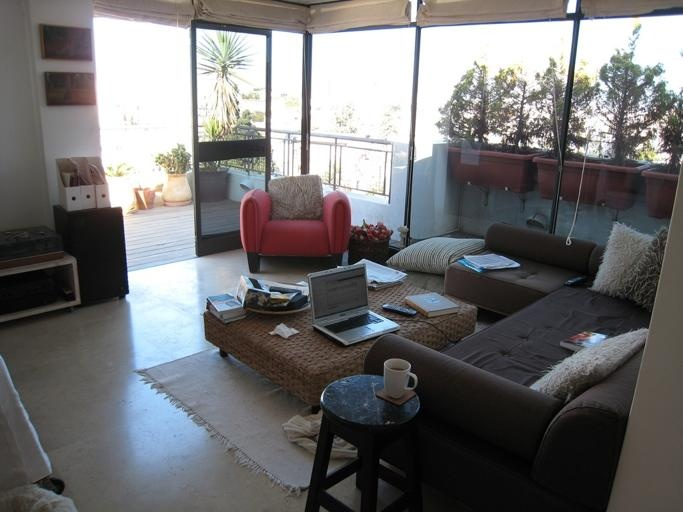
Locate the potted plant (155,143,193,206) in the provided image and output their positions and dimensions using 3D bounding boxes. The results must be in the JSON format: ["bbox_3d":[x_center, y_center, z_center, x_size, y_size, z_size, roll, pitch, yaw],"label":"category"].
[{"bbox_3d":[-2.717,-1.309,8.002,0.532,0.872,0.572,13,17,24],"label":"potted plant"}]

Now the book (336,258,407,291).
[{"bbox_3d":[0.312,0.151,4.064,0.334,0.082,0.327,-9,17,-29],"label":"book"}]

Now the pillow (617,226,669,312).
[{"bbox_3d":[2.016,0.108,3.286,0.204,0.490,0.425,16,15,6],"label":"pillow"}]

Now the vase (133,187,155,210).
[{"bbox_3d":[-3.131,-0.910,7.729,0.301,0.292,0.295,12,19,24],"label":"vase"}]

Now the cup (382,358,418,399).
[{"bbox_3d":[0.267,0.549,2.144,0.111,0.137,0.176,-14,21,-41],"label":"cup"}]

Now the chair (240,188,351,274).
[{"bbox_3d":[-0.524,-0.407,5.734,1.294,0.961,1.246,2,19,-2],"label":"chair"}]

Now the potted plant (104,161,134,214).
[{"bbox_3d":[-3.391,-1.031,7.509,0.366,0.741,0.372,-7,18,-25],"label":"potted plant"}]

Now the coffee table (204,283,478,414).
[{"bbox_3d":[-0.321,0.531,3.219,1.024,0.250,0.931,-14,20,-37],"label":"coffee table"}]

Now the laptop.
[{"bbox_3d":[0.081,0.294,3.116,0.454,0.372,0.375,-10,17,-37],"label":"laptop"}]

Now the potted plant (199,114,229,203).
[{"bbox_3d":[-1.514,-1.165,5.748,0.428,1.057,0.444,4,13,8],"label":"potted plant"}]

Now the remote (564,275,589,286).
[{"bbox_3d":[1.898,0.183,3.951,0.297,0.082,0.077,-10,31,-41],"label":"remote"}]
